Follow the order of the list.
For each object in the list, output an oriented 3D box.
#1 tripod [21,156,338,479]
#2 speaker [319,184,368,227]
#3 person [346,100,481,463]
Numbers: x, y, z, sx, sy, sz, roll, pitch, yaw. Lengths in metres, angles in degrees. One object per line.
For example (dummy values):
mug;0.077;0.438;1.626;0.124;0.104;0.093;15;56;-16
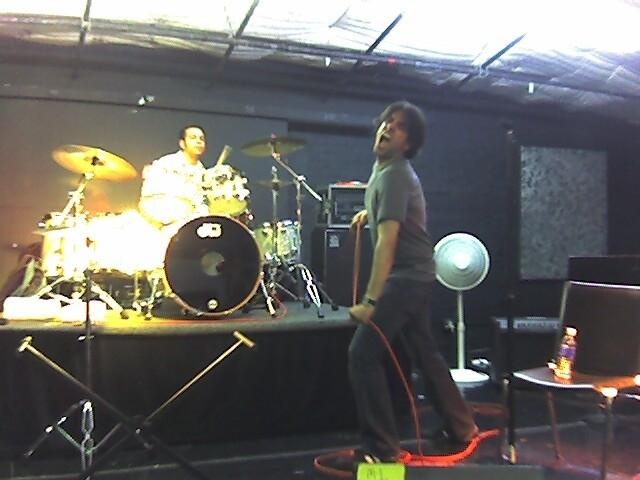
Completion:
tripod;-0.733;0.373;3.416;0.887;1.242;1.210;1;-1;43
speaker;0.138;-0.222;3.699;0.343;0.330;0.248;0;2;-21
person;0.510;0.225;3.245;0.652;2.070;0.335;1;-1;12
